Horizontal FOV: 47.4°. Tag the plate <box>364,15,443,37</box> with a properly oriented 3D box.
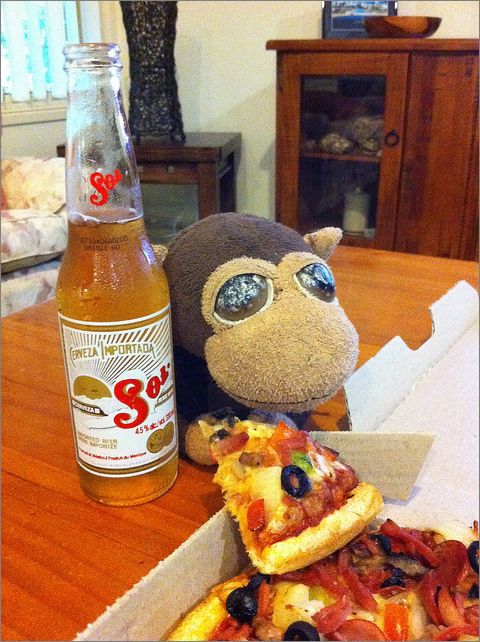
[{"bbox_3d":[0.485,-0.895,1.655,0.220,0.058,0.071,5,26,11],"label":"plate"}]

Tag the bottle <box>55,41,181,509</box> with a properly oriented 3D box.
[{"bbox_3d":[-0.080,-0.011,0.343,0.069,0.296,0.087,-4,27,-7],"label":"bottle"}]

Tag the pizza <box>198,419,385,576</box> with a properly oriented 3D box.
[{"bbox_3d":[0.023,0.092,0.328,0.078,0.034,0.098,-19,44,-37],"label":"pizza"}]
